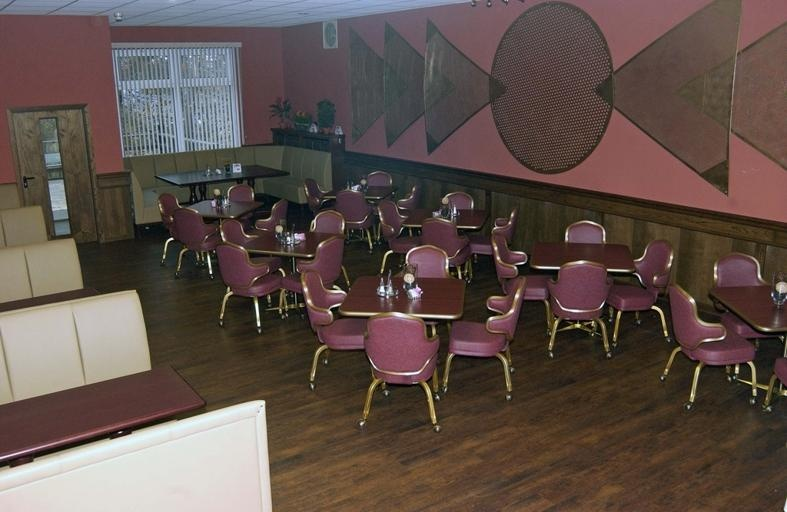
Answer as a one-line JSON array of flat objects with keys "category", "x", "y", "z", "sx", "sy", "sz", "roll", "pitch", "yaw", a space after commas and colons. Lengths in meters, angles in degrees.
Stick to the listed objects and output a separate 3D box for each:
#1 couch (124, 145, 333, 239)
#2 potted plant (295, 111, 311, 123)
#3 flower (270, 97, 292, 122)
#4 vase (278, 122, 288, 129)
[{"category": "couch", "x": -4.015, "y": -1.541, "z": 13.616, "sx": 2.471, "sy": 1.865, "sz": 5.165, "roll": 13, "pitch": 15, "yaw": 41}, {"category": "potted plant", "x": -2.065, "y": -3.158, "z": 13.841, "sx": 0.445, "sy": 0.272, "sz": 0.183, "roll": 7, "pitch": 17, "yaw": 27}, {"category": "flower", "x": -2.716, "y": -3.484, "z": 14.606, "sx": 0.589, "sy": 0.598, "sz": 0.349, "roll": 2, "pitch": 15, "yaw": 10}, {"category": "vase", "x": -2.623, "y": -3.109, "z": 14.375, "sx": 0.180, "sy": 0.119, "sz": 0.091, "roll": 4, "pitch": 40, "yaw": 1}]
